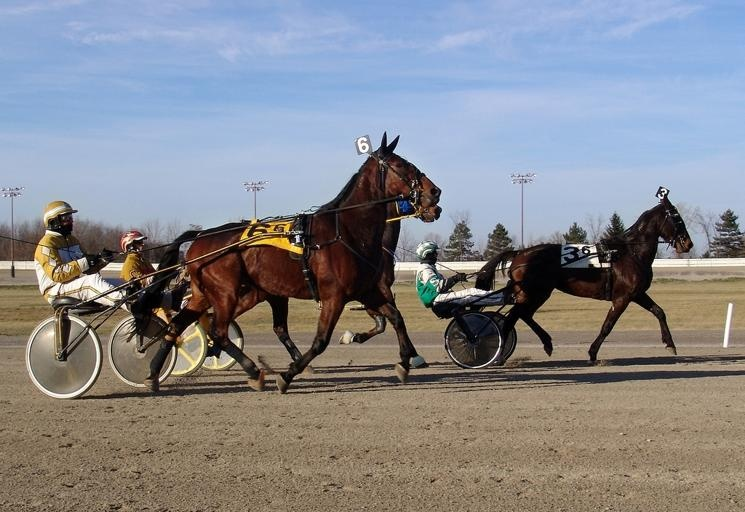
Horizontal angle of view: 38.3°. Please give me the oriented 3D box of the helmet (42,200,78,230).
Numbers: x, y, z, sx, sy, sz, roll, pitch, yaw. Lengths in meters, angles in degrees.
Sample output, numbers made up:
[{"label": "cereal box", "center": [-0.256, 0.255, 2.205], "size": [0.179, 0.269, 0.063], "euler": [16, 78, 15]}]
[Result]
[{"label": "helmet", "center": [-3.710, -0.461, 12.657], "size": [0.298, 0.346, 0.272], "euler": [-5, 14, -19]}]

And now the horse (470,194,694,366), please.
[{"label": "horse", "center": [2.933, 0.283, 15.240], "size": [3.351, 2.176, 0.702], "euler": [-3, -3, -7]}]

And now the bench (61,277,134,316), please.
[{"label": "bench", "center": [-3.313, 0.401, 12.758], "size": [0.686, 0.219, 0.422], "euler": [12, 19, 25]}]

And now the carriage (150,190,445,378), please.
[{"label": "carriage", "center": [-0.906, 0.299, 13.186], "size": [4.167, 2.388, 1.058], "euler": [-6, -5, 28]}]

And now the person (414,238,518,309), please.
[{"label": "person", "center": [1.214, 0.276, 14.550], "size": [1.267, 0.812, 0.633], "euler": [1, 6, 3]}]
